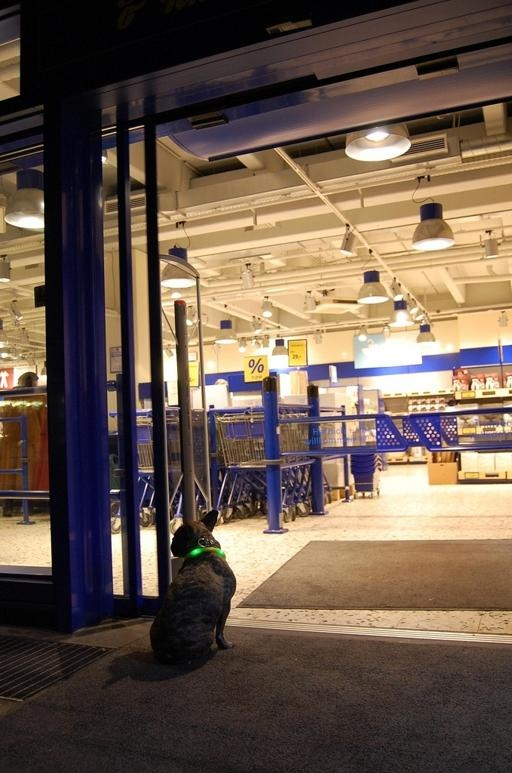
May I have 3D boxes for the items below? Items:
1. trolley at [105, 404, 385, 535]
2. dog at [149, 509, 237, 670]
[{"bbox_3d":[-0.253,0.898,6.728,1.506,1.046,2.622,-2,-6,18],"label":"trolley"},{"bbox_3d":[-0.271,0.912,2.786,0.323,0.610,0.847,0,-4,3],"label":"dog"}]
